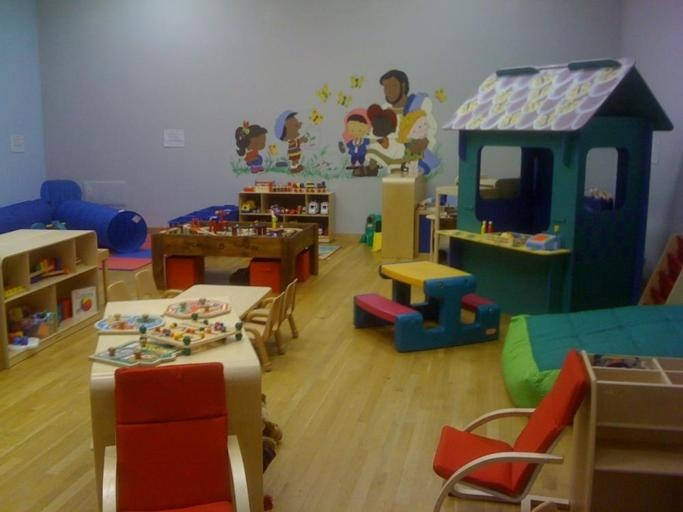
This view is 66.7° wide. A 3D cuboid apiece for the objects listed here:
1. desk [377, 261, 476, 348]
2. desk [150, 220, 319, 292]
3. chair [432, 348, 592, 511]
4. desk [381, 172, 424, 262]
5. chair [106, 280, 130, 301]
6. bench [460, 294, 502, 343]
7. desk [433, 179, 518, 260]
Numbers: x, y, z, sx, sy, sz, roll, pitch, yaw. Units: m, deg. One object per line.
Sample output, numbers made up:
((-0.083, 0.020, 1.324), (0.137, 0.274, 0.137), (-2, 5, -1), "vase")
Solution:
((0.955, 0.510, 5.980), (0.738, 0.821, 0.952), (-9, 15, -28), "desk")
((-1.604, -0.070, 7.551), (1.516, 0.695, 1.095), (1, 7, 11), "desk")
((0.917, 1.004, 3.401), (1.001, 1.257, 0.850), (2, 13, 10), "chair")
((1.035, -0.610, 8.953), (0.428, 1.109, 1.278), (1, 9, 10), "desk")
((-2.069, 0.323, 4.765), (0.159, 0.186, 0.363), (-7, 14, -19), "chair")
((1.526, 0.609, 5.700), (0.379, 0.330, 0.554), (-6, 16, -16), "bench")
((1.952, -0.788, 7.907), (1.235, 1.689, 1.523), (1, 9, 16), "desk")
